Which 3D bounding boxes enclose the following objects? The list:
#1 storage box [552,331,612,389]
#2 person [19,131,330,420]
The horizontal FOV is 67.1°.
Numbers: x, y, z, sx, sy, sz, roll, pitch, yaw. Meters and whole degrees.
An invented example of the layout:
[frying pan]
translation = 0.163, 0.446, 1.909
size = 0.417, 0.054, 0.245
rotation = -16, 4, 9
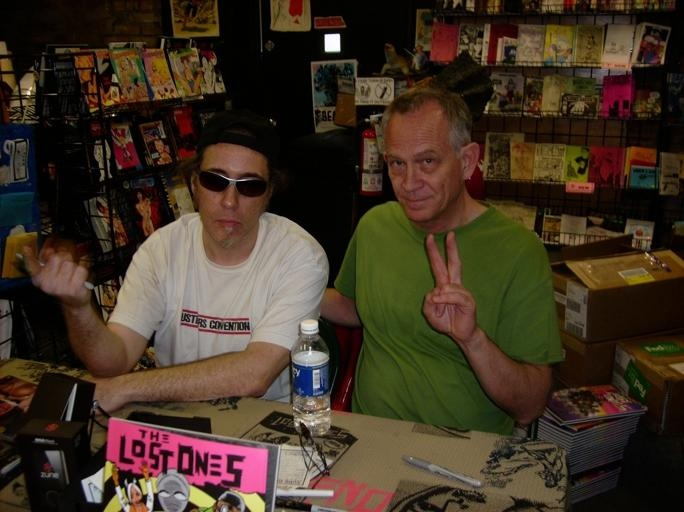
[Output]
[storage box]
translation = 1.495, 0.651, 3.164
size = 0.228, 0.333, 0.340
rotation = -2, 9, -8
[person]
translation = -0.601, 0.198, 2.047
size = 1.066, 1.285, 0.773
rotation = 1, 9, -25
